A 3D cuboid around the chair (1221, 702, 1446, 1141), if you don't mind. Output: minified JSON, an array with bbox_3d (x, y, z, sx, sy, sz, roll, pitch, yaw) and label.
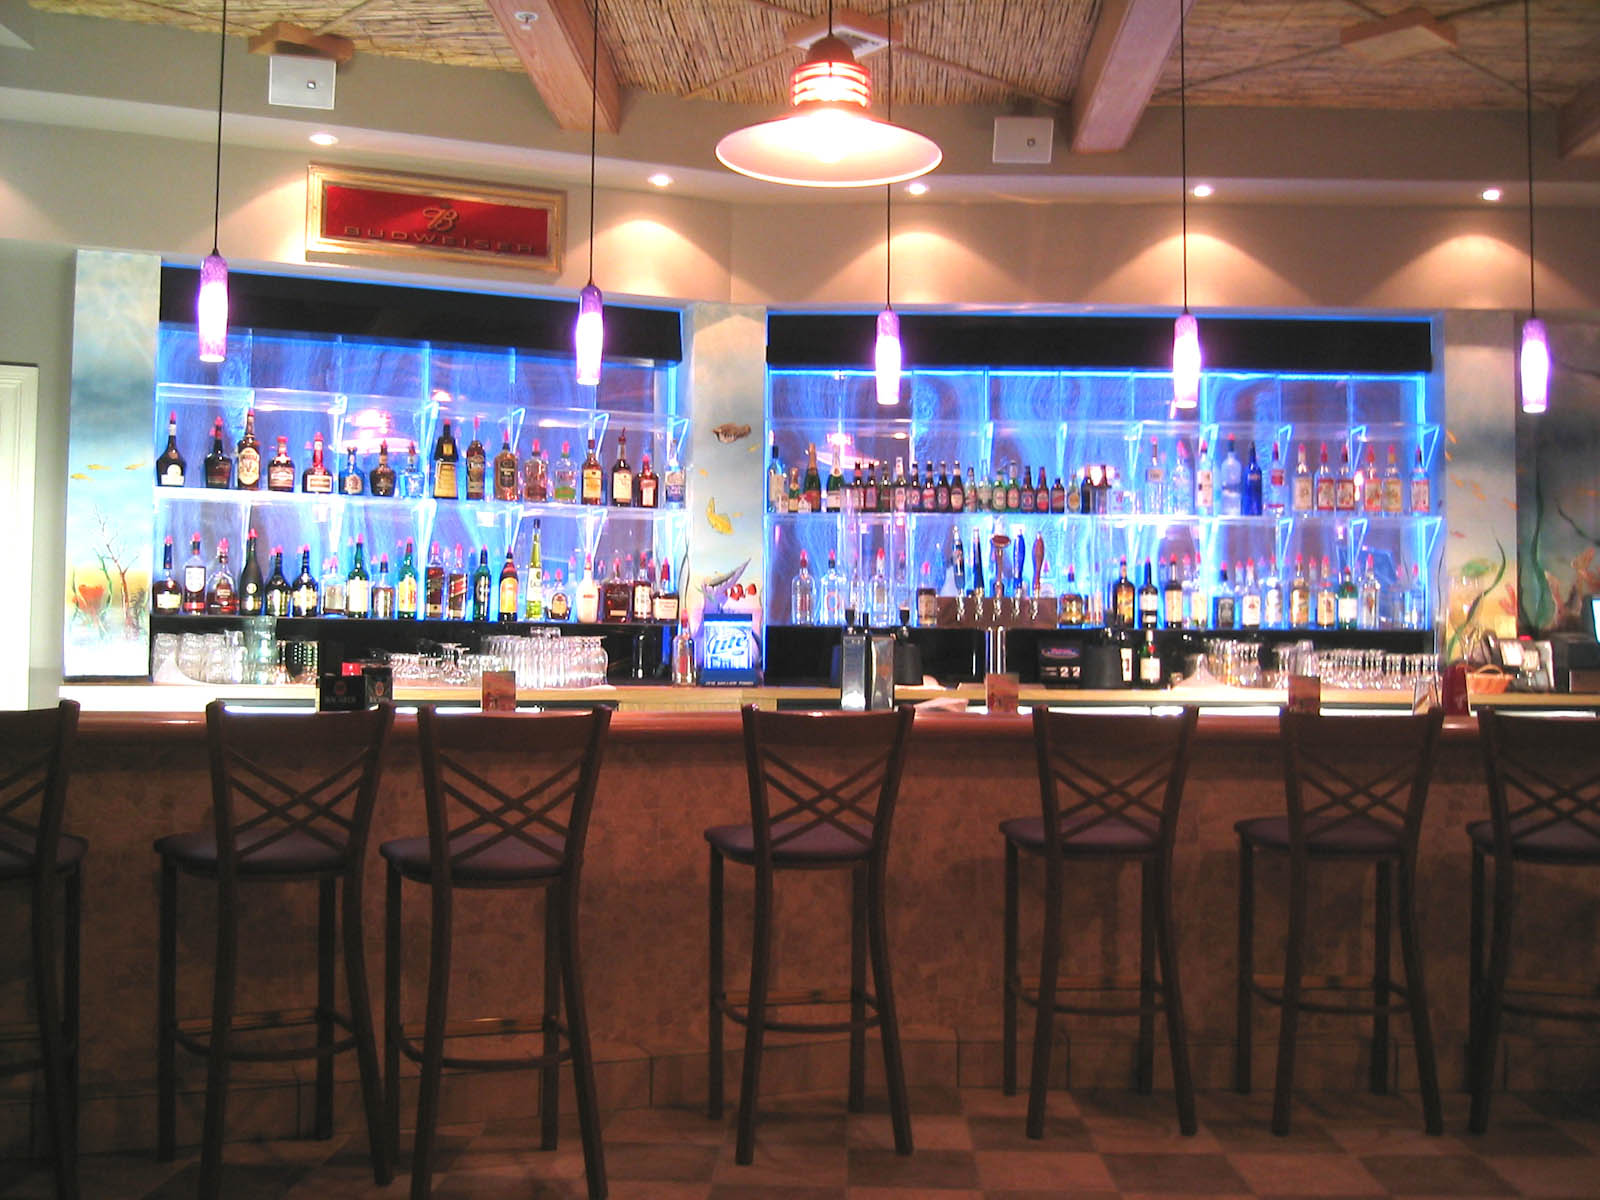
[{"bbox_3d":[1.988,1.148,5.806,0.791,1.517,0.714,0,-2,3],"label":"chair"}]

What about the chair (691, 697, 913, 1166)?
[{"bbox_3d":[0.037,1.155,5.620,0.744,1.565,0.772,0,-2,-4],"label":"chair"}]

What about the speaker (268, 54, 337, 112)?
[{"bbox_3d":[-2.343,-2.431,7.420,0.303,0.239,0.131,1,-2,-18],"label":"speaker"}]

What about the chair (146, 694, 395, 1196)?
[{"bbox_3d":[-1.777,1.144,5.349,0.760,1.612,0.832,1,-2,-24],"label":"chair"}]

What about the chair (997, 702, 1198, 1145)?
[{"bbox_3d":[1.095,1.146,5.795,0.713,1.521,0.829,0,-2,10],"label":"chair"}]

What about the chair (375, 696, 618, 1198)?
[{"bbox_3d":[-1.038,1.168,5.396,0.754,1.621,0.882,1,-2,-14],"label":"chair"}]

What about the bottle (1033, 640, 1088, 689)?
[{"bbox_3d":[1.378,0.361,8.341,0.250,0.264,0.194,0,-9,2],"label":"bottle"}]

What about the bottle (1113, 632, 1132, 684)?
[{"bbox_3d":[1.711,0.311,8.374,0.099,0.274,0.409,0,-2,11],"label":"bottle"}]
